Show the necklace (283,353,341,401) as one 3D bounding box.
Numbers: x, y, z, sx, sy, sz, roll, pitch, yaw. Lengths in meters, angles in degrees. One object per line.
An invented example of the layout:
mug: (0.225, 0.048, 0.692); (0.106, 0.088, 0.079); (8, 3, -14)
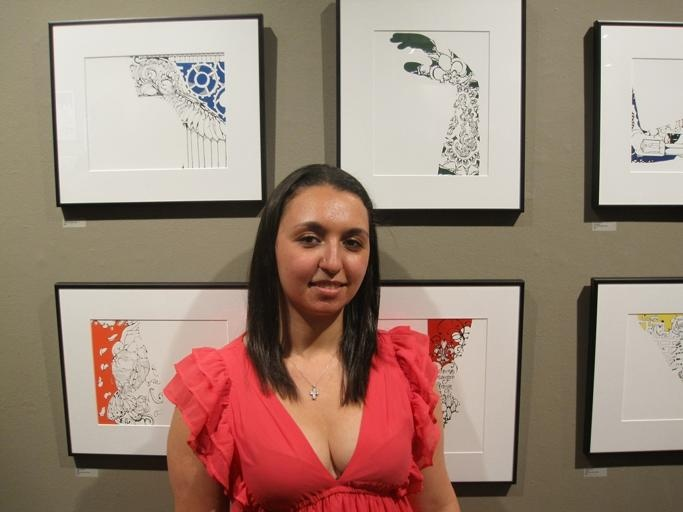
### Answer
necklace: (-0.083, 0.335, 1.929); (0.129, 0.129, 0.046); (-4, -28, -14)
